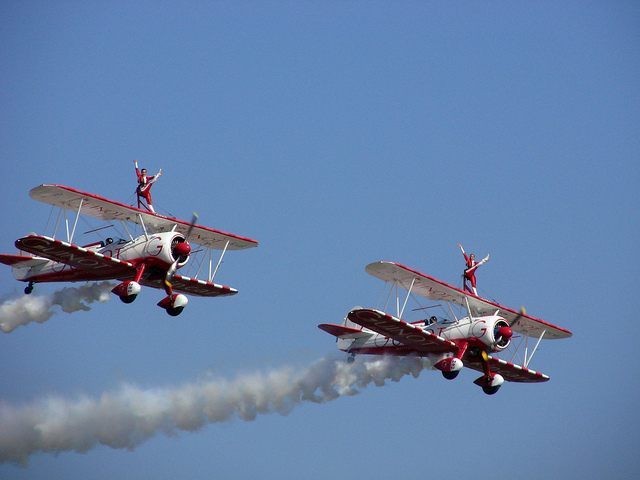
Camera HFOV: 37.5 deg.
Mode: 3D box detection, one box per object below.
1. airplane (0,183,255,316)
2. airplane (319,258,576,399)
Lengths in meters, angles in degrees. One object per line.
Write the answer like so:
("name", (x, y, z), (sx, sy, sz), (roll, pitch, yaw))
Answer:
("airplane", (-5.810, 0.294, 27.197), (5.474, 2.410, 5.965), (-6, -22, 38))
("airplane", (3.781, 2.821, 28.906), (6.610, 3.009, 4.359), (11, -45, -10))
